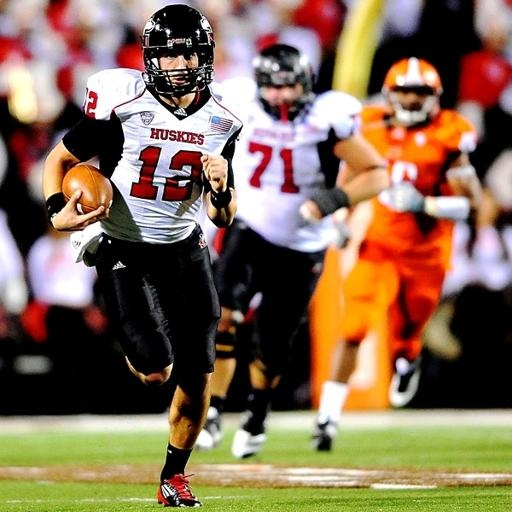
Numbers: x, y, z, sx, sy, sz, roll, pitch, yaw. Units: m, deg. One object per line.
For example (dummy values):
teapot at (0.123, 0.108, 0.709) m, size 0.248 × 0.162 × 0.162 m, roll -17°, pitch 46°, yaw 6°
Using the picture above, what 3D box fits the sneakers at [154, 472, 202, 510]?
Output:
sneakers at (-0.213, 0.686, 2.132) m, size 0.118 × 0.093 × 0.140 m, roll 4°, pitch 6°, yaw -16°

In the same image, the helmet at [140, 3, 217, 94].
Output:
helmet at (-0.226, -0.608, 2.187) m, size 0.246 × 0.232 × 0.283 m, roll -2°, pitch 34°, yaw -5°

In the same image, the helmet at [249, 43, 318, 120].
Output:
helmet at (0.128, -0.921, 3.879) m, size 0.345 × 0.314 × 0.379 m, roll -7°, pitch 28°, yaw -11°

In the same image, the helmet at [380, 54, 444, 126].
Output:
helmet at (0.957, -0.966, 4.560) m, size 0.422 × 0.385 × 0.323 m, roll 1°, pitch -18°, yaw -2°

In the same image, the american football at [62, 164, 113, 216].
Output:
american football at (-0.465, -0.188, 2.121) m, size 0.115 × 0.096 × 0.173 m, roll 25°, pitch 8°, yaw -48°

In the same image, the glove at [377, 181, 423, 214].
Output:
glove at (0.855, -0.340, 4.353) m, size 0.258 × 0.182 × 0.231 m, roll 6°, pitch 6°, yaw 1°

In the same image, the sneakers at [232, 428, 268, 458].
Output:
sneakers at (-0.023, 0.940, 3.758) m, size 0.115 × 0.119 × 0.203 m, roll 2°, pitch -5°, yaw 5°

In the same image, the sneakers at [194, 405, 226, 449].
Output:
sneakers at (-0.238, 0.906, 3.921) m, size 0.120 × 0.296 × 0.184 m, roll 8°, pitch 6°, yaw -2°

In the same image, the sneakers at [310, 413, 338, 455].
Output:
sneakers at (0.372, 0.980, 4.119) m, size 0.160 × 0.160 × 0.182 m, roll 2°, pitch -11°, yaw 4°
